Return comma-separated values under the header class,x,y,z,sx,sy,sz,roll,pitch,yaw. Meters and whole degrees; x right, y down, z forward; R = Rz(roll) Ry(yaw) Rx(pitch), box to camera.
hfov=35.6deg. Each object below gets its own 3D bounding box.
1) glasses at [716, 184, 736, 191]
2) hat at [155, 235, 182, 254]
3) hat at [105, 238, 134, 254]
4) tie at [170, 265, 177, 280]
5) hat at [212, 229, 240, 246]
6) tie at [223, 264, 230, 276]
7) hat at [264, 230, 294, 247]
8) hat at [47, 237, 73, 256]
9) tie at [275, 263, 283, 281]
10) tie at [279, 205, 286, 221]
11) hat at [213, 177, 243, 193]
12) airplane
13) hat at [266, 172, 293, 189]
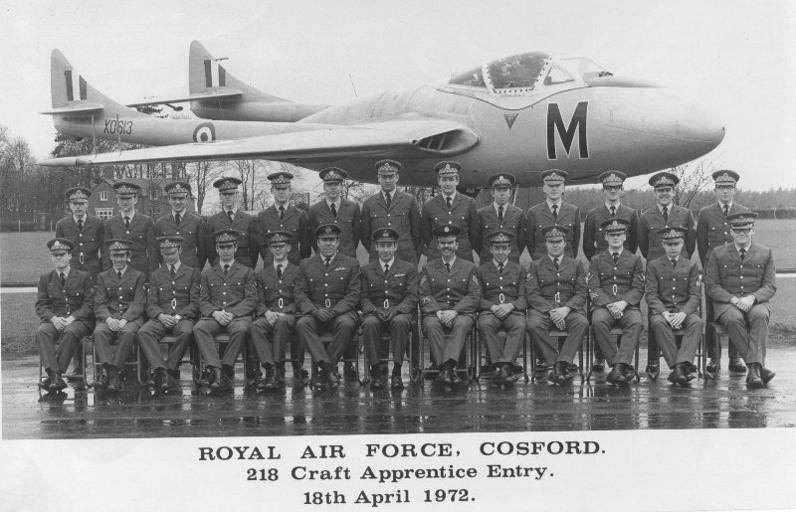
class,x,y,z,sx,sy,sz,roll,pitch,yaw
glasses,5.399,-1.134,20.481,0.291,0.126,0.212,-2,-3,13
hat,-3.691,-0.204,20.158,0.413,0.338,0.581,-1,-3,-10
hat,-4.528,-0.178,20.219,0.425,0.266,0.608,-1,-3,-13
tie,-3.603,0.242,19.948,0.052,0.199,0.057,2,-26,-4
hat,-2.781,-0.324,20.198,0.409,0.284,0.621,-1,-3,-9
tie,-2.739,0.221,19.900,0.109,0.168,0.044,0,-11,2
hat,-1.934,-0.319,20.235,0.447,0.275,0.660,-1,-3,-6
hat,-5.467,-0.166,20.136,0.393,0.306,0.492,0,-3,-15
tie,-1.897,0.242,19.952,0.077,0.244,0.067,1,-7,-8
tie,-1.922,-0.741,20.649,0.182,0.188,0.050,-1,-6,1
hat,-2.903,-1.230,21.310,0.590,0.196,0.571,-1,1,-7
airplane,0.355,-2.370,22.834,6.178,1.218,6.892,6,10,38
hat,-1.976,-1.295,20.940,0.554,0.218,0.541,0,-3,-7
